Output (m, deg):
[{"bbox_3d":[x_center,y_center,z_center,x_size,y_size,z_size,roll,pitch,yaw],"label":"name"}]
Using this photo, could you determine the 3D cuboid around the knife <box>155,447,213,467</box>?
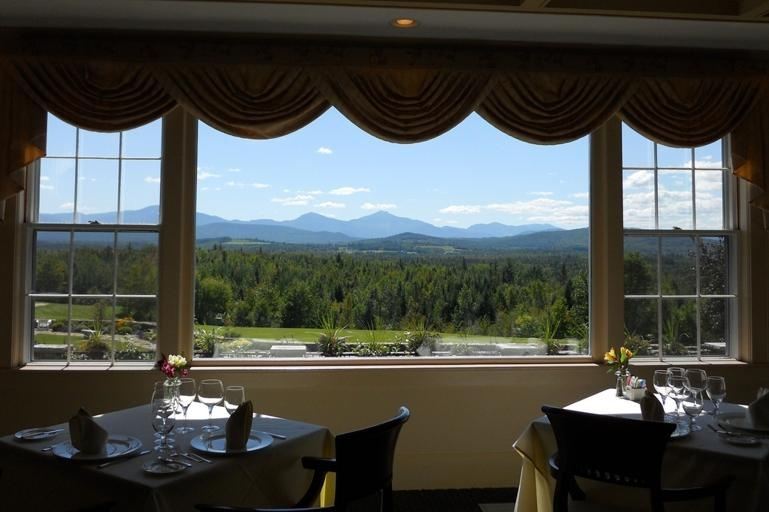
[{"bbox_3d":[-1.165,1.150,3.658,0.344,0.049,0.115,0,-2,31],"label":"knife"}]

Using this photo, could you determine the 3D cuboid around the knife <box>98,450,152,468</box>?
[{"bbox_3d":[-1.480,1.156,3.644,0.293,0.066,0.058,3,-5,-32],"label":"knife"}]

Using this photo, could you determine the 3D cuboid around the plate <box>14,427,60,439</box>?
[{"bbox_3d":[-2.113,1.088,3.891,0.171,0.019,0.107,5,-3,-31],"label":"plate"}]

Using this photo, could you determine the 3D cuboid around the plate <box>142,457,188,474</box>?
[{"bbox_3d":[-1.217,1.175,3.557,0.245,0.068,0.137,-1,-5,10],"label":"plate"}]

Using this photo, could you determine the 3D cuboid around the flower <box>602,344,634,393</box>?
[{"bbox_3d":[1.787,0.857,4.831,0.292,0.388,0.302,-1,-4,6],"label":"flower"}]
